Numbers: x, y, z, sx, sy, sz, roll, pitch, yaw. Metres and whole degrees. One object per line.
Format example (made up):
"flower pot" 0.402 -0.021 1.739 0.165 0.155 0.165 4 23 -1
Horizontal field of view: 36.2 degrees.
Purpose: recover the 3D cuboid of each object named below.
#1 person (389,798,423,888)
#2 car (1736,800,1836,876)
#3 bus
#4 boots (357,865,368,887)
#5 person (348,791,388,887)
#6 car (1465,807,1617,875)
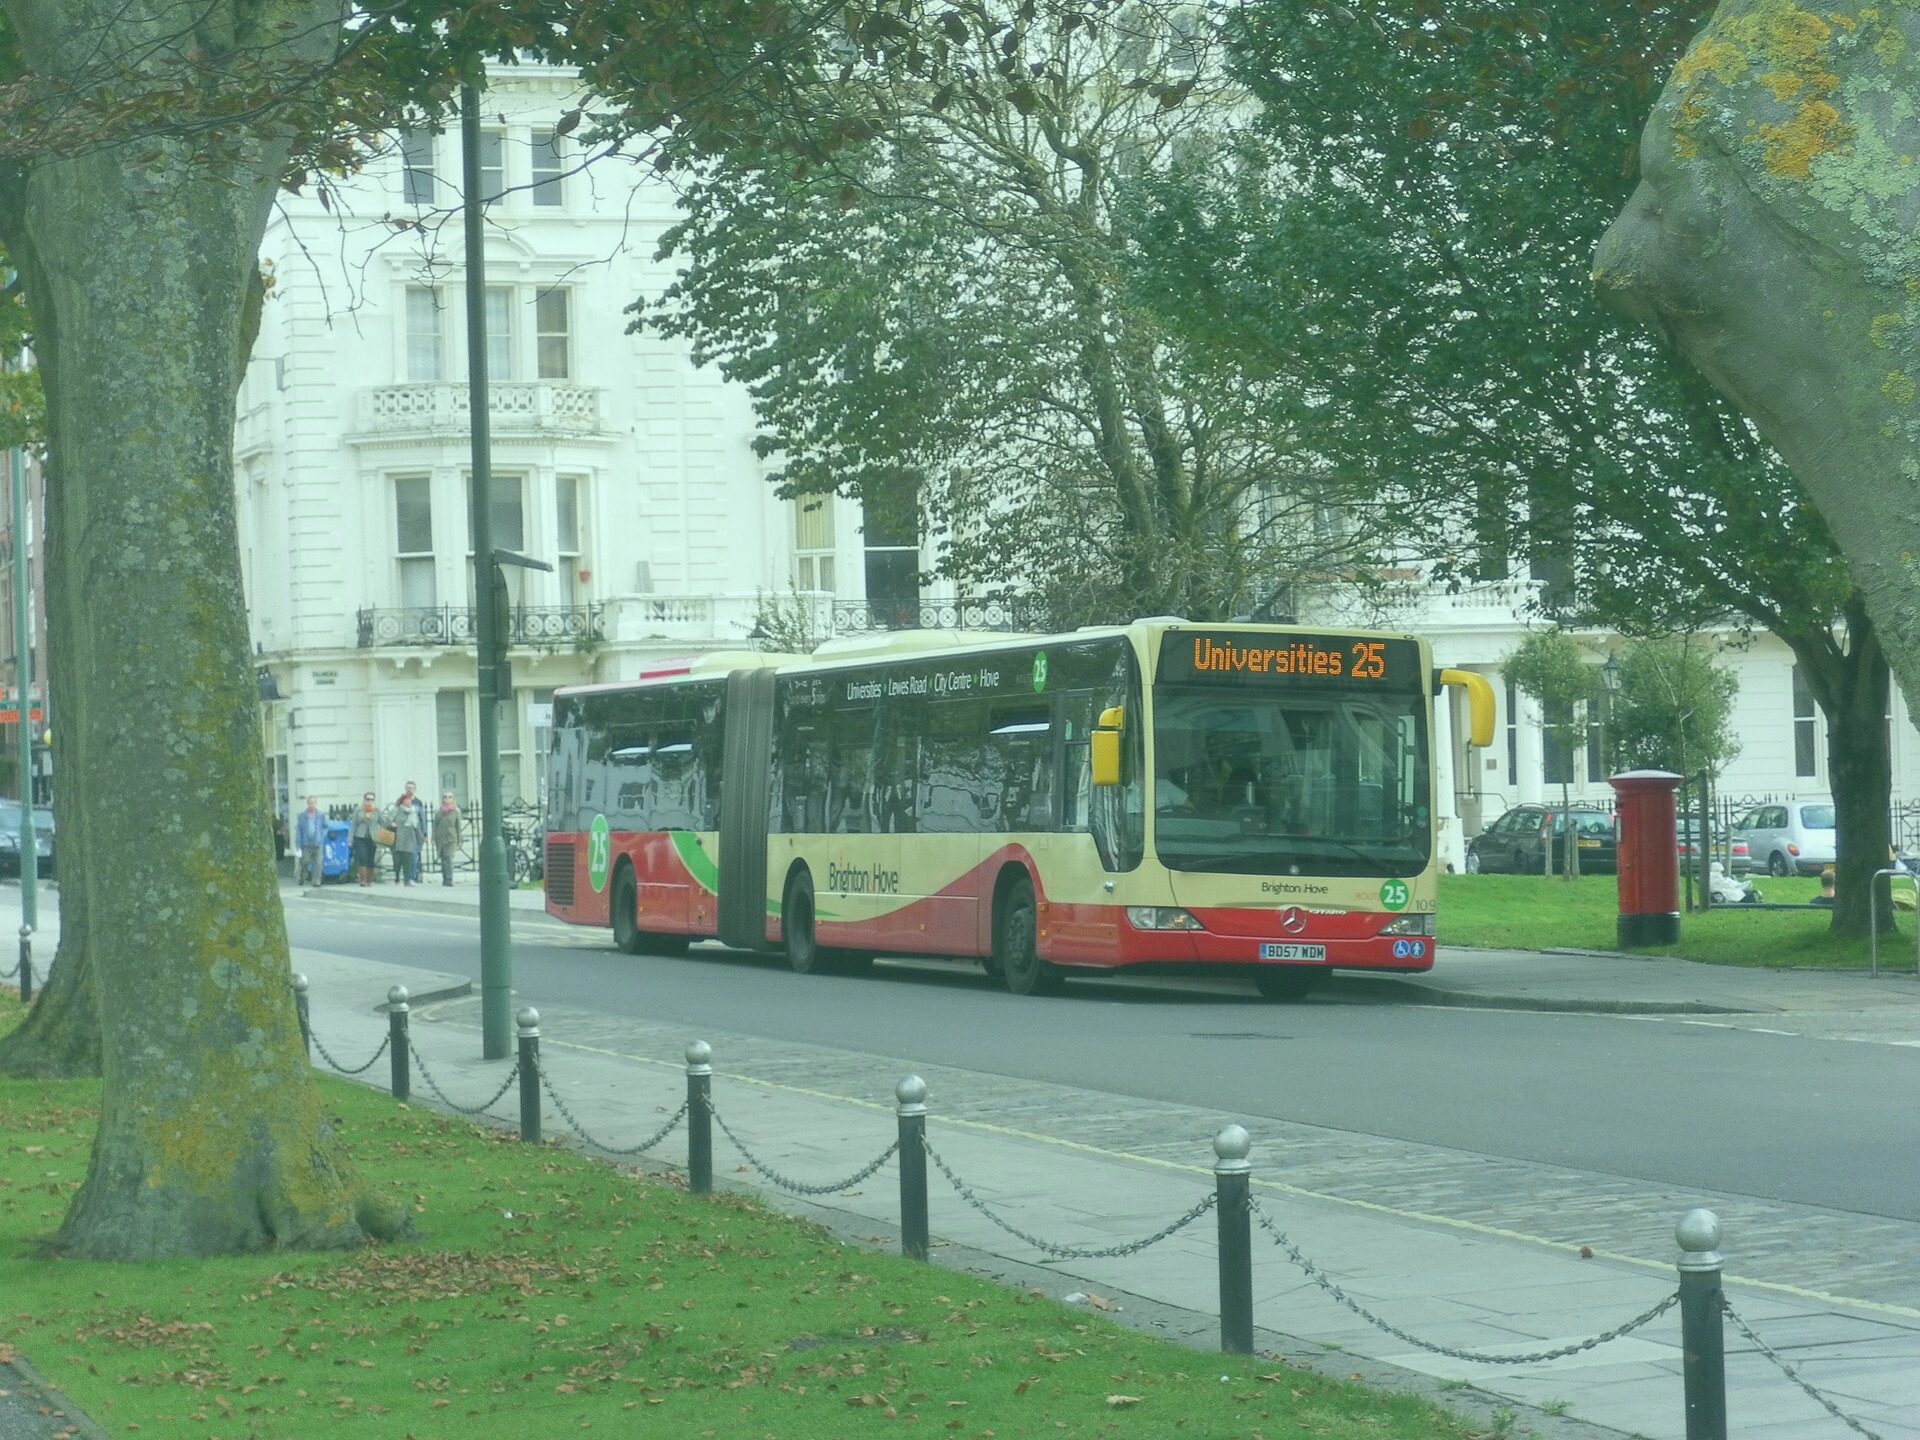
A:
"person" -9.999 2.137 52.852 0.461 1.620 1.406 -1 -3 -12
"car" 14.646 2.140 52.042 1.248 1.017 2.111 -1 3 -18
"bus" -0.113 0.929 30.733 3.421 3.419 12.916 1 -4 -25
"boots" -10.941 2.847 53.722 0.210 0.336 0.342 1 -4 -17
"person" -10.863 2.202 53.803 0.592 1.596 1.374 -1 -3 -13
"car" 10.456 2.178 52.162 1.174 0.835 2.537 0 0 -16
